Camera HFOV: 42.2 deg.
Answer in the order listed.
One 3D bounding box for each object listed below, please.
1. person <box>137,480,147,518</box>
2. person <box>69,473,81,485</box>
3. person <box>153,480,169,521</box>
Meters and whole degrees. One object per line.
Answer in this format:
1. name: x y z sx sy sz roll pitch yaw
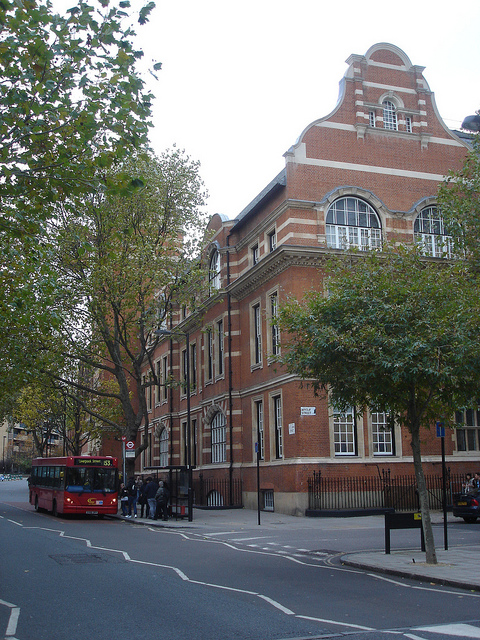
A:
1. person: -4.214 7.766 26.845 0.351 1.534 1.622 2 -19 -9
2. person: -6.861 6.627 25.860 0.356 0.757 0.383 8 -19 -18
3. person: -3.138 7.238 24.852 0.599 1.541 1.104 2 -18 -9
